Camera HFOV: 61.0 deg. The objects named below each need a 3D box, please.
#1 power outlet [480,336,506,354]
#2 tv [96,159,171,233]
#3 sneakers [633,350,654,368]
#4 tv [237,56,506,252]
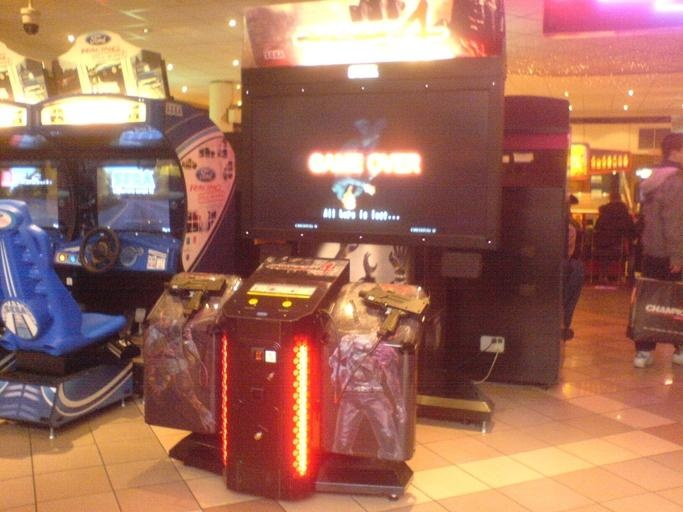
[{"bbox_3d":[1.256,0.742,4.852,0.163,0.164,0.049,6,5,17],"label":"power outlet"},{"bbox_3d":[-1.954,-0.553,5.520,0.027,0.655,0.826,5,7,37],"label":"tv"},{"bbox_3d":[2.816,0.971,5.407,0.104,0.143,0.205,-4,-8,43],"label":"sneakers"},{"bbox_3d":[0.148,-0.615,3.688,1.654,1.151,0.196,3,11,16],"label":"tv"}]
